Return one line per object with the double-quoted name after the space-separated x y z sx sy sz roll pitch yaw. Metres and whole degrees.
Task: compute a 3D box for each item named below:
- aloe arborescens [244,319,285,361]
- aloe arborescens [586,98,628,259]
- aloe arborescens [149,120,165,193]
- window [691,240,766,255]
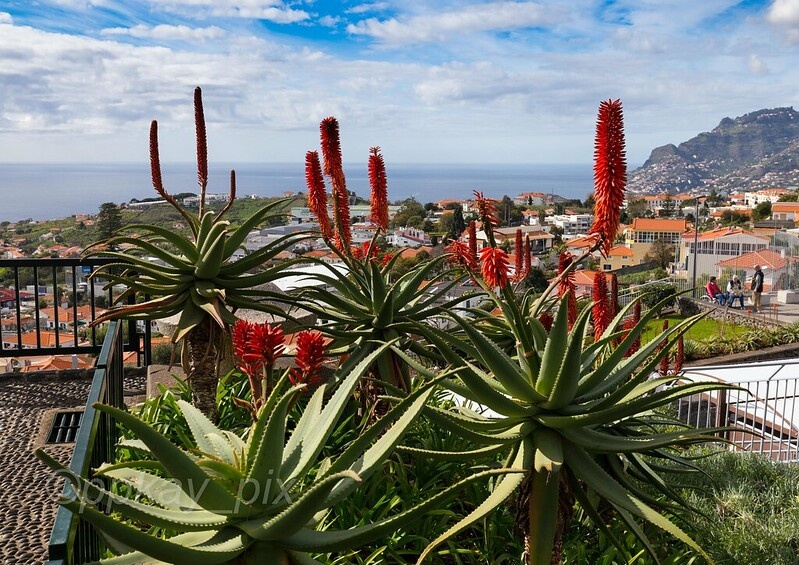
-0.681 0.306 3.221 0.165 0.194 0.219 -2 6 -9 "aloe arborescens"
1.364 -0.653 4.055 0.220 0.961 0.472 0 6 19 "aloe arborescens"
-1.885 -0.960 4.848 0.092 0.581 0.237 -4 7 -22 "aloe arborescens"
31.962 -3.320 60.188 6.069 1.480 0.810 -2 6 -8 "window"
